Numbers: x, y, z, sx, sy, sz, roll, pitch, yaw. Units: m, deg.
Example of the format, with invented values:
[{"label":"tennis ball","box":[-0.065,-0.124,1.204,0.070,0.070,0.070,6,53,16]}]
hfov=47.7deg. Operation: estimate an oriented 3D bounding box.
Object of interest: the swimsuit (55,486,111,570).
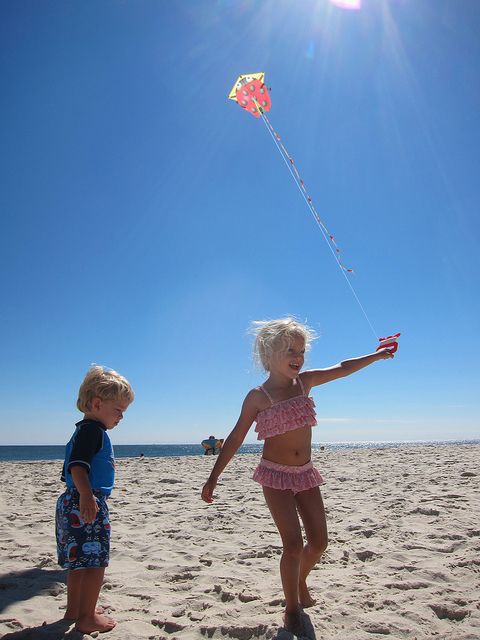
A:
[{"label":"swimsuit","box":[-0.704,0.923,2.436,0.235,0.357,0.186,3,-10,-17]}]

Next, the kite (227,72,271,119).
[{"label":"kite","box":[0.070,-1.724,4.127,0.397,0.108,0.339,-7,-17,25]}]

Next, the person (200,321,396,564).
[{"label":"person","box":[0.244,0.597,2.816,0.424,1.219,0.824,-7,-12,38]}]

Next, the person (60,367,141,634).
[{"label":"person","box":[-0.668,0.802,2.519,0.302,1.174,0.343,2,-9,-9]}]

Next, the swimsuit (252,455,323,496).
[{"label":"swimsuit","box":[0.237,0.778,2.711,0.336,0.183,0.206,0,-9,1]}]
